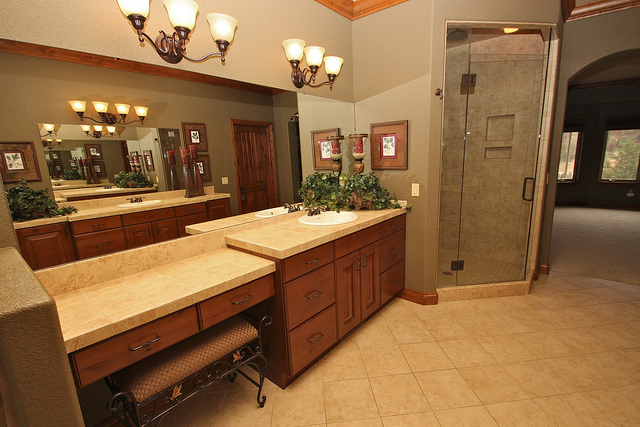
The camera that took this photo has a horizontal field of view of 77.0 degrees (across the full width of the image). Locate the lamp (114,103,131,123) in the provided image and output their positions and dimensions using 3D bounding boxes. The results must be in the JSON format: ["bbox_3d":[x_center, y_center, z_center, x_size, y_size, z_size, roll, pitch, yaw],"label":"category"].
[{"bbox_3d":[-1.523,-0.794,3.162,0.118,0.149,0.117,2,7,19],"label":"lamp"}]

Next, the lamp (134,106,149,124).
[{"bbox_3d":[-1.438,-0.798,3.224,0.107,0.128,0.109,-2,9,-12],"label":"lamp"}]

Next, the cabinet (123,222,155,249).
[{"bbox_3d":[-1.445,0.163,3.198,0.185,0.269,0.197,0,4,27],"label":"cabinet"}]

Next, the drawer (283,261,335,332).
[{"bbox_3d":[-0.087,0.676,3.444,0.502,0.350,0.488,-1,11,42],"label":"drawer"}]

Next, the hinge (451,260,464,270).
[{"bbox_3d":[1.592,0.595,4.677,0.179,0.120,0.094,-5,12,-23],"label":"hinge"}]

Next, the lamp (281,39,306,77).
[{"bbox_3d":[-0.245,-1.468,3.874,0.219,0.266,0.221,-12,12,-35],"label":"lamp"}]

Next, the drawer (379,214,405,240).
[{"bbox_3d":[0.754,0.113,4.209,0.223,0.119,0.371,2,6,35],"label":"drawer"}]

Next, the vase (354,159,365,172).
[{"bbox_3d":[0.445,-0.542,4.470,0.122,0.160,0.128,-14,18,-34],"label":"vase"}]

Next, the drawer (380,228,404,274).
[{"bbox_3d":[0.746,0.376,4.234,0.286,0.315,0.456,2,7,36],"label":"drawer"}]

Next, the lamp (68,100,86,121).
[{"bbox_3d":[-1.802,-0.781,3.026,0.130,0.157,0.127,-7,14,-23],"label":"lamp"}]

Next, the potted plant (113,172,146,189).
[{"bbox_3d":[-1.488,-0.276,3.140,0.154,0.097,0.133,-6,17,-28],"label":"potted plant"}]

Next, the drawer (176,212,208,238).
[{"bbox_3d":[-1.100,0.090,3.404,0.061,0.165,0.194,10,14,37],"label":"drawer"}]

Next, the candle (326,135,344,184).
[{"bbox_3d":[0.188,-0.564,4.445,0.220,0.543,0.221,-6,8,-9],"label":"candle"}]

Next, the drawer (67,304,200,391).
[{"bbox_3d":[-1.313,0.923,2.786,0.654,0.209,0.644,-11,9,-43],"label":"drawer"}]

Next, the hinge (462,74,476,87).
[{"bbox_3d":[1.672,-1.503,4.513,0.197,0.129,0.044,-1,10,-16],"label":"hinge"}]

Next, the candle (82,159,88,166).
[{"bbox_3d":[-1.766,-0.385,3.010,0.037,0.060,0.038,-1,6,-6],"label":"candle"}]

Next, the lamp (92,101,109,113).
[{"bbox_3d":[-1.657,-0.796,3.020,0.079,0.054,0.072,0,5,-22],"label":"lamp"}]

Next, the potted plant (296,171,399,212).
[{"bbox_3d":[0.283,-0.257,4.316,1.068,0.424,0.338,-3,11,-4],"label":"potted plant"}]

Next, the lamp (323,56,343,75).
[{"bbox_3d":[0.129,-1.493,4.087,0.184,0.136,0.174,16,23,41],"label":"lamp"}]

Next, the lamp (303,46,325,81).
[{"bbox_3d":[-0.067,-1.473,3.979,0.199,0.237,0.204,3,2,42],"label":"lamp"}]

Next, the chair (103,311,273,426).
[{"bbox_3d":[-1.003,1.266,3.193,1.254,0.774,0.470,-9,14,-34],"label":"chair"}]
